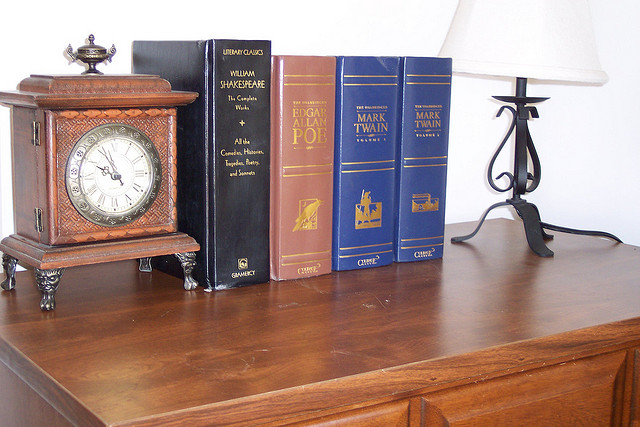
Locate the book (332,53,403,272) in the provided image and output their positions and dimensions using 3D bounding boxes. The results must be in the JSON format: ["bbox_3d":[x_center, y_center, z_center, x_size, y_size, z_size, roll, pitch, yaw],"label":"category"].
[{"bbox_3d":[0.095,-0.095,1.270,0.194,0.422,0.078,-8,17,-14],"label":"book"}]

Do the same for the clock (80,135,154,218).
[{"bbox_3d":[-0.348,-0.062,1.103,0.115,0.135,0.023,-15,20,-35],"label":"clock"}]

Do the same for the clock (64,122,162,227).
[{"bbox_3d":[-0.384,-0.083,1.188,0.180,0.157,0.177,-25,29,-35],"label":"clock"}]

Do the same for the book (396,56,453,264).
[{"bbox_3d":[0.212,-0.106,1.321,0.163,0.419,0.050,-15,20,-33],"label":"book"}]

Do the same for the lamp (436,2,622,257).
[{"bbox_3d":[0.508,-0.207,1.497,0.377,0.550,0.444,4,17,24],"label":"lamp"}]
